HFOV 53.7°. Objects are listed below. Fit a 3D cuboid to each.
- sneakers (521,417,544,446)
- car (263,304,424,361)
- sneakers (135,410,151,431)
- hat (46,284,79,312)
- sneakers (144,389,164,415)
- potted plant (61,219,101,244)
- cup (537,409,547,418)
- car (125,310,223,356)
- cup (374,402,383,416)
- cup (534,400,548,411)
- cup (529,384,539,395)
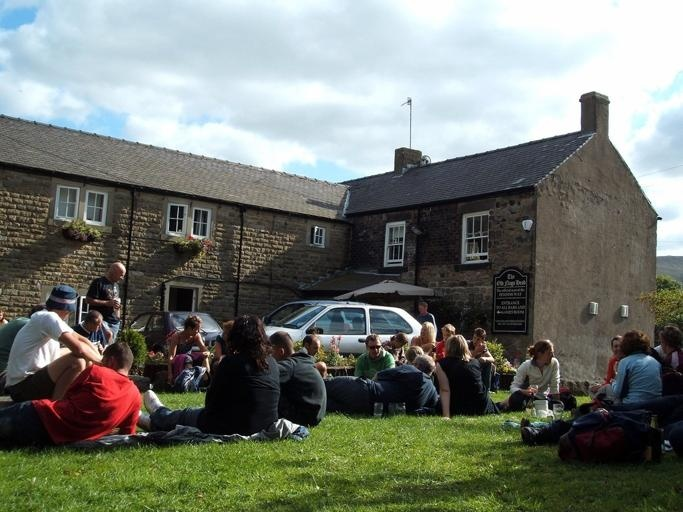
[{"bbox_3d":[2.328,2.189,8.316,0.153,0.200,0.465,3,-26,20],"label":"sneakers"},{"bbox_3d":[-0.042,1.520,15.308,2.762,1.167,1.529,10,-7,-24],"label":"car"},{"bbox_3d":[-2.384,1.983,8.257,0.183,0.237,0.082,-22,0,36],"label":"sneakers"},{"bbox_3d":[-3.643,0.537,8.835,0.346,0.316,0.400,16,7,29],"label":"hat"},{"bbox_3d":[-2.405,1.808,8.566,0.188,0.157,0.621,-3,2,-14],"label":"sneakers"},{"bbox_3d":[-7.401,-0.681,19.182,1.059,0.645,0.443,1,4,-25],"label":"potted plant"},{"bbox_3d":[2.945,2.320,9.949,0.126,0.112,0.103,1,-2,-22],"label":"cup"},{"bbox_3d":[-3.924,1.665,16.099,1.279,0.925,2.758,1,-2,-37],"label":"car"},{"bbox_3d":[0.558,2.285,10.136,0.160,0.155,0.274,3,10,6],"label":"cup"},{"bbox_3d":[2.980,2.228,10.068,0.152,0.162,0.151,1,-2,0],"label":"cup"},{"bbox_3d":[3.104,2.150,10.892,0.125,0.122,0.097,-1,1,15],"label":"cup"}]
